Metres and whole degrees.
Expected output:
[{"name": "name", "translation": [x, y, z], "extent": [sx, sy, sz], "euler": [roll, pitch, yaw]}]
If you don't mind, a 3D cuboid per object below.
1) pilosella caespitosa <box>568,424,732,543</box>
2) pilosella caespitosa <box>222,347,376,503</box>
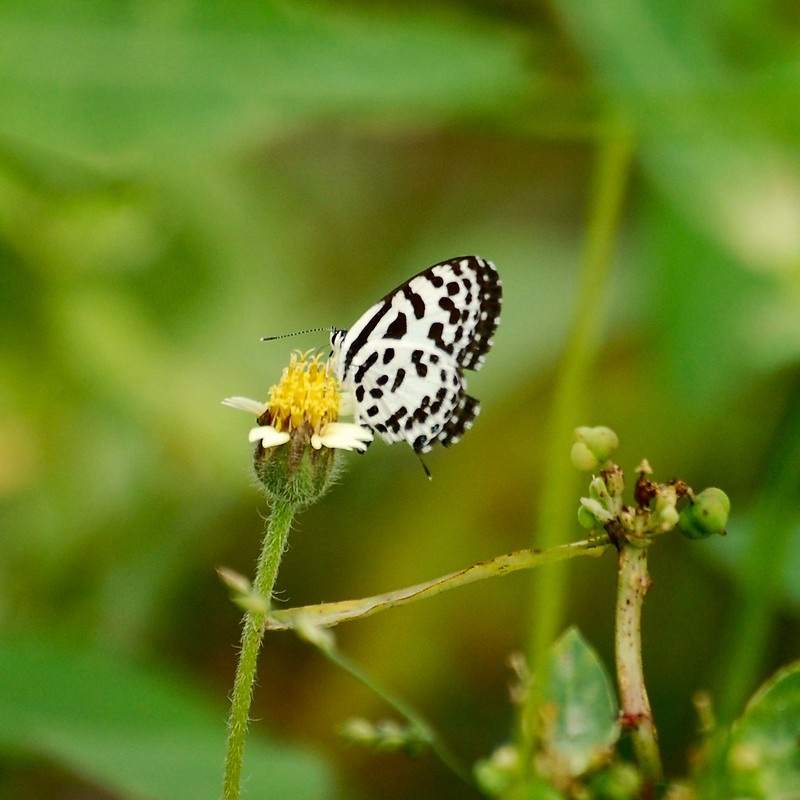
[{"name": "pilosella caespitosa", "translation": [0.338, 0.130, 1.391], "extent": [0.195, 0.112, 0.138], "euler": [25, 44, 34]}, {"name": "pilosella caespitosa", "translation": [-0.156, 0.054, 1.630], "extent": [0.236, 0.169, 0.226], "euler": [19, 4, -16]}]
